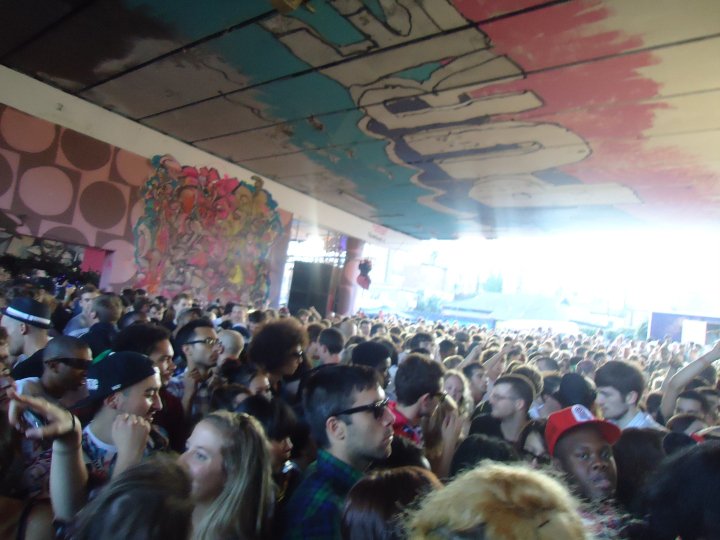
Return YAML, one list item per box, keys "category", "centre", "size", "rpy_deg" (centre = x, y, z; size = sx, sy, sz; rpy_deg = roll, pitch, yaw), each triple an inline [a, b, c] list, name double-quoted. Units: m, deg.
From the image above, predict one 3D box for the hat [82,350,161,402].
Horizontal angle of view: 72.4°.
- category: "hat"
  centre: [-1.533, 0.667, 3.166]
  size: [0.364, 0.178, 0.267]
  rpy_deg: [-28, 10, -4]
